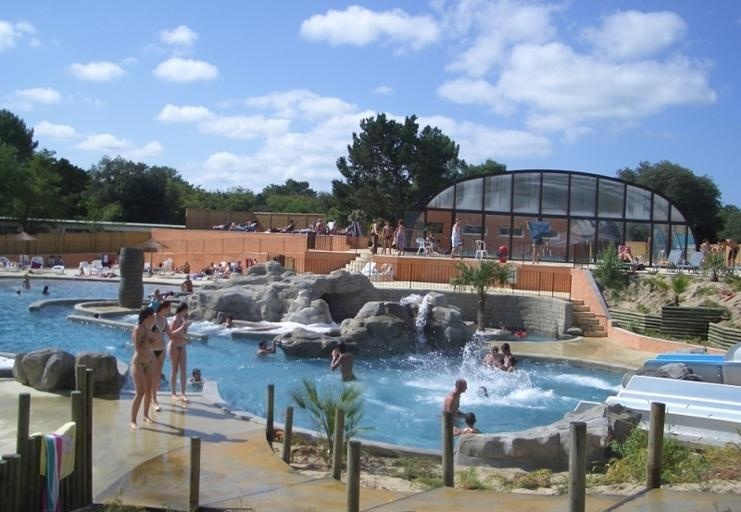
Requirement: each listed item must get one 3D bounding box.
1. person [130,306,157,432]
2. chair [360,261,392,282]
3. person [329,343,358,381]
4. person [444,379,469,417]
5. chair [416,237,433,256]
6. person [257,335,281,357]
[{"bbox_3d":[-4.654,2.226,13.954,0.418,2.337,1.068,-1,10,-3],"label":"person"},{"bbox_3d":[0.348,0.796,32.028,0.987,0.651,0.972,0,2,-37],"label":"chair"},{"bbox_3d":[-0.859,3.250,20.524,0.682,1.230,0.715,-3,4,-8],"label":"person"},{"bbox_3d":[2.032,3.497,16.634,0.513,1.077,0.998,1,10,11],"label":"person"},{"bbox_3d":[2.761,-0.432,35.258,0.805,1.150,0.810,0,-1,-32],"label":"chair"},{"bbox_3d":[-3.386,3.022,22.835,0.680,0.597,0.537,-2,3,-1],"label":"person"}]
